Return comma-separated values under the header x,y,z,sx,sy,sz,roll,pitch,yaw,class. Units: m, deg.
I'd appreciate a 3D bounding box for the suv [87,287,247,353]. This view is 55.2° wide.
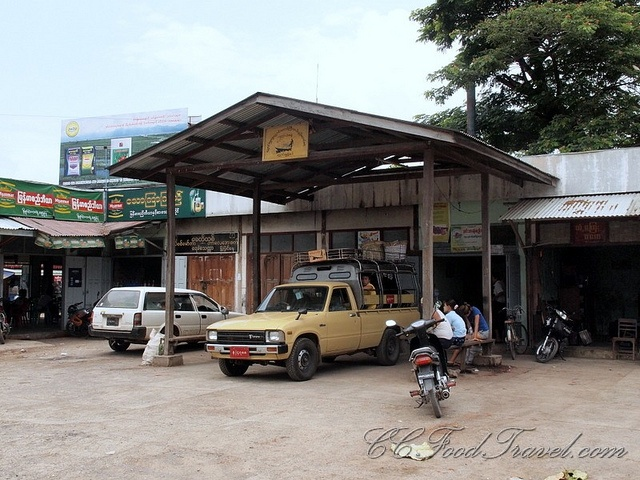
x,y,z,sx,sy,sz,roll,pitch,yaw,class
-4.207,1.872,16.837,1.843,1.244,3.234,-3,-2,39,suv

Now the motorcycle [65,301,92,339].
x,y,z,sx,sy,sz,roll,pitch,yaw,class
-8.218,2.850,21.694,1.536,0.988,0.789,0,-3,35,motorcycle

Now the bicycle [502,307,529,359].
x,y,z,sx,sy,sz,roll,pitch,yaw,class
5.432,2.486,17.084,0.617,1.233,2.287,-6,-6,8,bicycle

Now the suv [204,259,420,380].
x,y,z,sx,sy,sz,roll,pitch,yaw,class
0.152,1.683,13.737,2.279,2.352,4.813,-7,-10,36,suv

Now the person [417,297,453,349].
x,y,z,sx,sy,sz,roll,pitch,yaw,class
2.235,1.682,11.803,0.567,0.590,0.887,-4,3,16,person

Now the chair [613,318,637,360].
x,y,z,sx,sy,sz,roll,pitch,yaw,class
7.536,2.412,15.161,0.565,0.956,0.746,-1,-1,25,chair

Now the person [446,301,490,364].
x,y,z,sx,sy,sz,roll,pitch,yaw,class
3.354,2.089,13.959,1.130,1.465,0.543,-8,5,-31,person

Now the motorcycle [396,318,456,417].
x,y,z,sx,sy,sz,roll,pitch,yaw,class
1.770,1.986,9.908,0.763,1.419,1.502,-1,-1,12,motorcycle

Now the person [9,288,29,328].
x,y,z,sx,sy,sz,roll,pitch,yaw,class
-11.466,2.566,23.475,0.644,1.413,1.741,0,-1,-26,person

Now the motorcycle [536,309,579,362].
x,y,z,sx,sy,sz,roll,pitch,yaw,class
5.655,2.255,14.789,0.732,1.276,0.905,-1,-1,30,motorcycle
